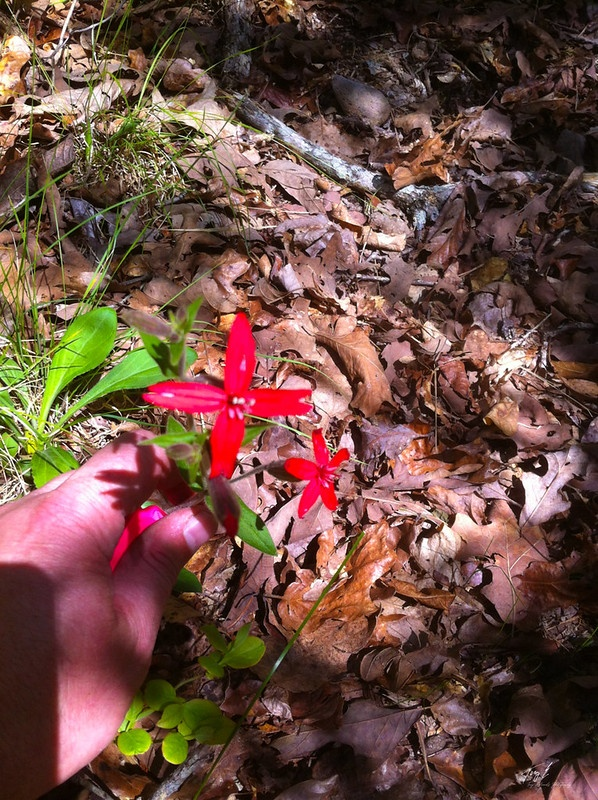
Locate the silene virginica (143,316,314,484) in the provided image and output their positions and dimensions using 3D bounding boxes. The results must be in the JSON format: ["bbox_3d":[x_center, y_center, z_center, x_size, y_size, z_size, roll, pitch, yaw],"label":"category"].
[{"bbox_3d":[-0.149,-0.007,1.474,0.229,0.324,0.316,37,40,29],"label":"silene virginica"}]
